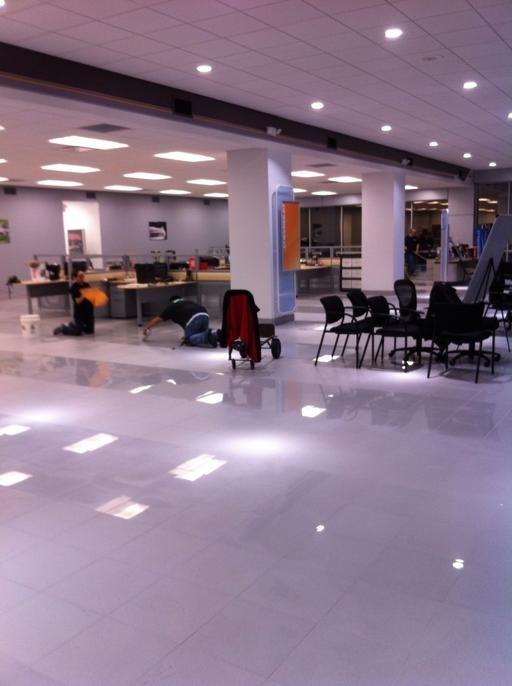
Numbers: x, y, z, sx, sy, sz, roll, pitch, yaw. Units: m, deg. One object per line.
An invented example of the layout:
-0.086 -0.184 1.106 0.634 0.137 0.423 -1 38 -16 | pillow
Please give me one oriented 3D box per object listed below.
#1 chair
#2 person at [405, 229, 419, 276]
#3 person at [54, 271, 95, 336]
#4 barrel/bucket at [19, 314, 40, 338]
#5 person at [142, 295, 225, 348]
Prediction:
2.201 -0.290 7.157 2.202 1.112 2.579 2 9 25 | chair
5.688 -3.203 18.388 0.440 1.249 0.359 -7 13 9 | person
-3.432 -0.720 9.662 0.640 1.208 0.432 -5 9 -19 | person
-4.347 -0.303 9.785 0.438 0.453 0.397 0 6 12 | barrel/bucket
-1.107 -0.279 8.423 1.313 0.627 0.875 24 18 24 | person
